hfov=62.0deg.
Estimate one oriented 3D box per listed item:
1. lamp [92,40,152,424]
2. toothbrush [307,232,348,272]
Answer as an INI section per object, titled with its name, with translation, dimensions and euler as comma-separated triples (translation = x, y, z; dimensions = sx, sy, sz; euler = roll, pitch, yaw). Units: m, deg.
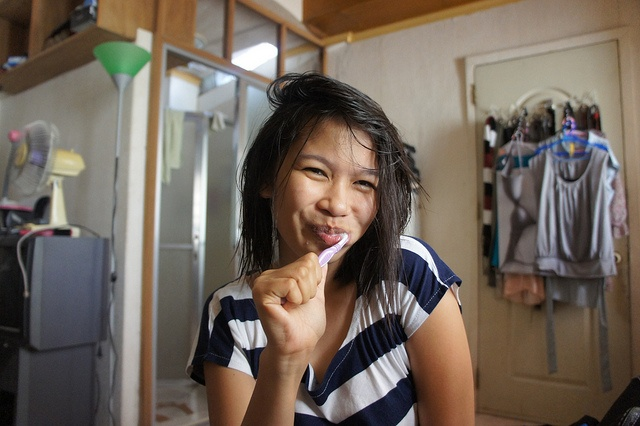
[lamp]
translation = -1.347, 0.132, 3.578
dimensions = 0.320, 2.582, 0.292
euler = 0, -3, 10
[toothbrush]
translation = 0.055, 0.161, 2.349
dimensions = 0.150, 0.150, 0.057
euler = 3, -4, -38
